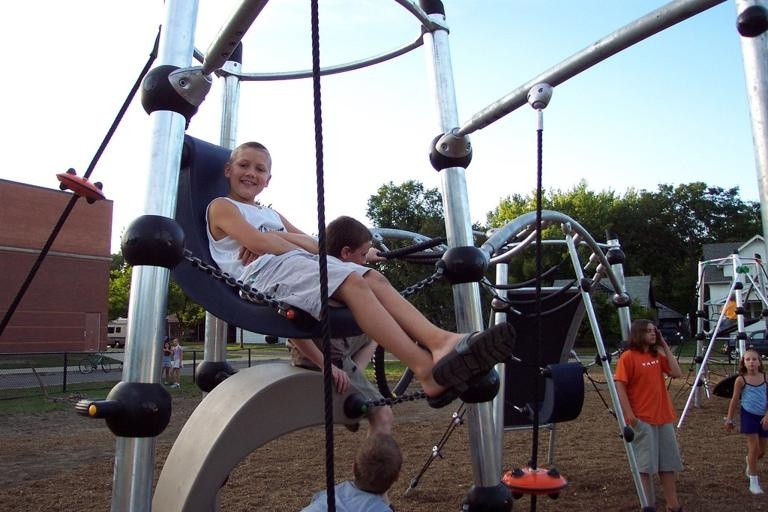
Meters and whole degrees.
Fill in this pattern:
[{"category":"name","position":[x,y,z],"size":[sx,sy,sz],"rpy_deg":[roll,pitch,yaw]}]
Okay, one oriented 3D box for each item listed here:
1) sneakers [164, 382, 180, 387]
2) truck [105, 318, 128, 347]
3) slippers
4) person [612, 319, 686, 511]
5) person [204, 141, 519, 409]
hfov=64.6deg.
[{"category":"sneakers","position":[-5.545,3.439,16.077],"size":[0.454,0.209,0.162],"rpy_deg":[-3,-8,20]},{"category":"truck","position":[-21.630,6.187,49.261],"size":[0.932,2.487,7.743],"rpy_deg":[3,-9,-27]},{"category":"slippers","position":[0.533,0.674,3.745],"size":[0.536,0.520,0.268],"rpy_deg":[-1,-7,7]},{"category":"person","position":[2.704,1.559,6.150],"size":[0.721,1.806,0.472],"rpy_deg":[4,-8,-33]},{"category":"person","position":[-0.304,0.035,4.331],"size":[2.231,1.429,0.732],"rpy_deg":[14,10,28]}]
